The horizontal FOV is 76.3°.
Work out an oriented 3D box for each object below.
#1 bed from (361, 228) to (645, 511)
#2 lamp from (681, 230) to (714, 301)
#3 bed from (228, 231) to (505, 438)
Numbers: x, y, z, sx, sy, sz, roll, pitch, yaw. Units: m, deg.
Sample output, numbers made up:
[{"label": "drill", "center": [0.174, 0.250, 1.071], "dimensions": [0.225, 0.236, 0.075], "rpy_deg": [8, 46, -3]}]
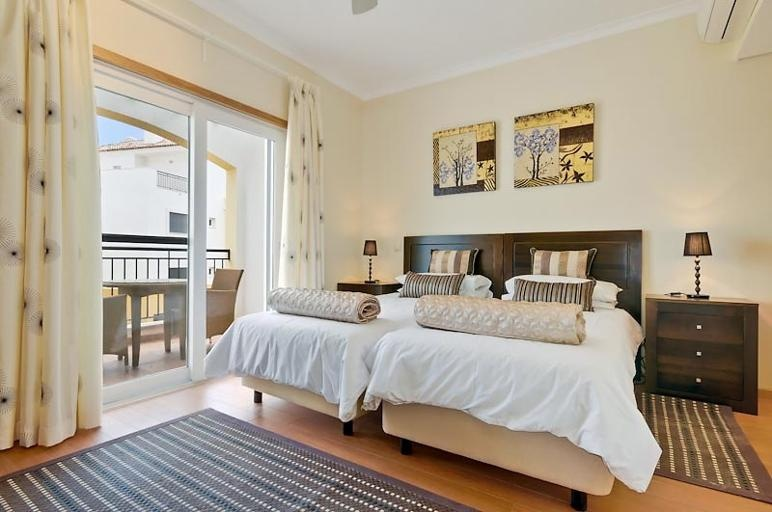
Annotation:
[{"label": "bed", "center": [1.143, 0.793, 4.269], "dimensions": [2.046, 1.602, 2.118], "rpy_deg": [2, 4, 28]}, {"label": "lamp", "center": [2.877, 0.078, 4.524], "dimensions": [0.214, 0.600, 0.354], "rpy_deg": [1, 1, 33]}, {"label": "bed", "center": [0.041, 0.504, 4.707], "dimensions": [1.370, 1.616, 2.556], "rpy_deg": [1, 0, 31]}]
